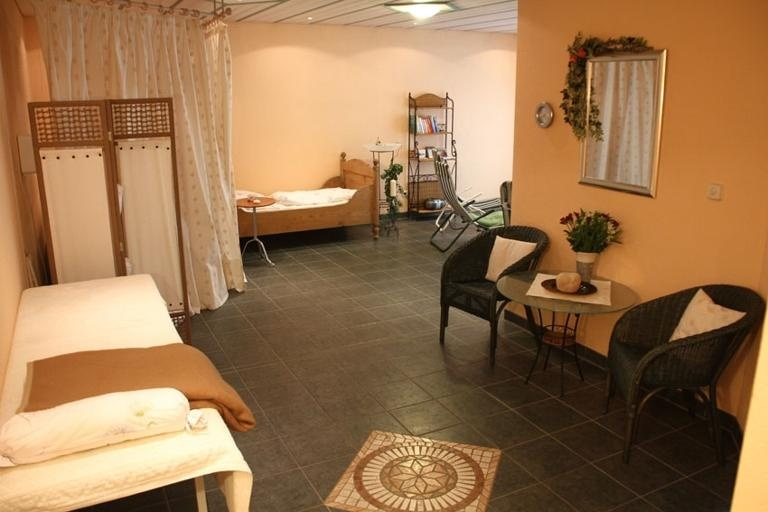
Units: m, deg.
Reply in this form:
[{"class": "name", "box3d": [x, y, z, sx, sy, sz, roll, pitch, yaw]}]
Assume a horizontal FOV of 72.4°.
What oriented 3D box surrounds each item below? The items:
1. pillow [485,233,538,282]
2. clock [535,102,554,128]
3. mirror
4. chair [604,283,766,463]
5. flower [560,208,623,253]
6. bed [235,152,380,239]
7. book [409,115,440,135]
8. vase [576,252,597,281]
[{"class": "pillow", "box3d": [1.265, 0.024, 5.162, 0.167, 0.434, 0.436, 26, -6, -35]}, {"class": "clock", "box3d": [1.594, -1.390, 5.196, 0.069, 0.238, 0.204, -11, 18, -24]}, {"class": "mirror", "box3d": [2.057, -1.131, 4.530, 0.121, 1.166, 0.796, -13, 19, -29]}, {"class": "chair", "box3d": [2.230, 0.817, 3.900, 0.974, 1.161, 0.780, -1, 16, 8]}, {"class": "flower", "box3d": [1.872, -0.236, 4.768, 0.390, 0.367, 0.405, 10, 0, -17]}, {"class": "bed", "box3d": [-1.244, -1.032, 8.846, 2.270, 1.274, 1.289, -5, 18, -17]}, {"class": "book", "box3d": [0.789, -2.500, 10.083, 0.527, 0.160, 0.364, 1, 7, -10]}, {"class": "vase", "box3d": [1.779, 0.089, 4.615, 0.202, 0.265, 0.186, 10, 20, 31]}]
